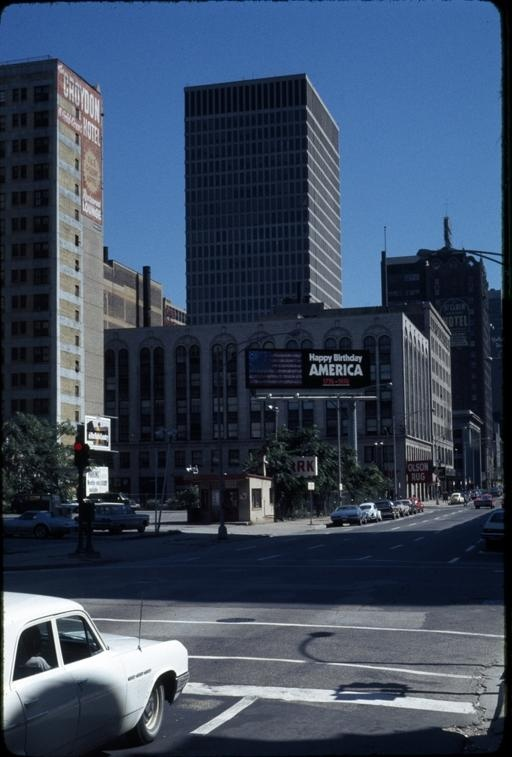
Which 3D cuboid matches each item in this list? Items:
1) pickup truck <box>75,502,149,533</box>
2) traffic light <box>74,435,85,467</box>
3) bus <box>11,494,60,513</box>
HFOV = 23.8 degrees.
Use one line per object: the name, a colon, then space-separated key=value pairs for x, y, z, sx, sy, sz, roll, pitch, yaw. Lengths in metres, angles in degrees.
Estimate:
pickup truck: x=-5.552 y=5.675 z=48.720 sx=1.019 sy=1.240 sz=2.861 roll=-6 pitch=-10 yaw=35
traffic light: x=-4.605 y=1.963 z=31.793 sx=0.248 sy=0.769 sz=0.757 roll=1 pitch=-8 yaw=-9
bus: x=-11.041 y=6.334 z=61.123 sx=2.080 sy=1.386 sz=1.728 roll=1 pitch=-6 yaw=8
